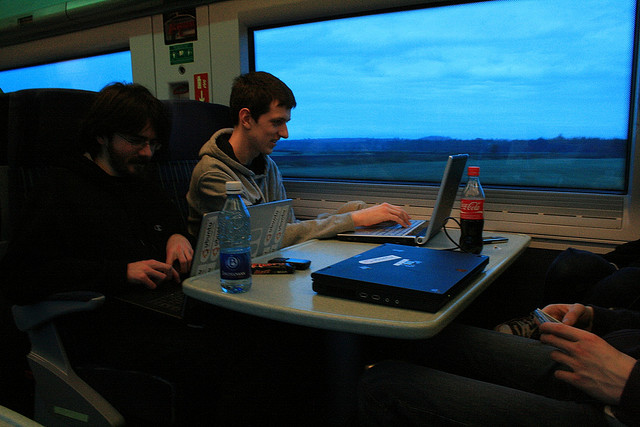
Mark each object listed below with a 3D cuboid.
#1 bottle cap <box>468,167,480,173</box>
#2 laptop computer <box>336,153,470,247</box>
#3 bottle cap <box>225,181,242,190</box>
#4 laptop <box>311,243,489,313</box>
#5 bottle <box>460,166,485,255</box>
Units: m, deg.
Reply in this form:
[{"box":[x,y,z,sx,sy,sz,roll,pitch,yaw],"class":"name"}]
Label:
[{"box":[0.703,-0.200,2.030,0.039,0.017,0.033,3,10,13],"class":"bottle cap"},{"box":[0.358,-0.067,2.264,0.652,0.283,0.604,1,9,27],"class":"laptop computer"},{"box":[-0.318,-0.104,1.623,0.056,0.021,0.045,0,10,-3],"class":"bottle cap"},{"box":[0.326,0.216,1.680,0.444,0.053,0.540,9,15,31],"class":"laptop"},{"box":[0.683,-0.010,2.067,0.147,0.381,0.135,2,5,0],"class":"bottle"}]
